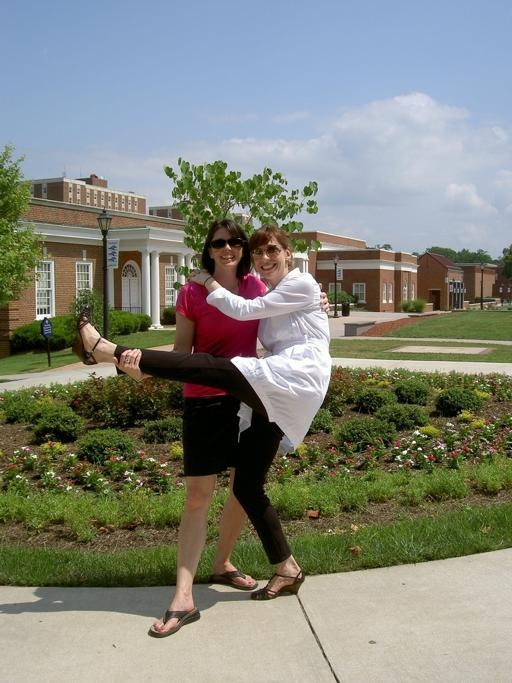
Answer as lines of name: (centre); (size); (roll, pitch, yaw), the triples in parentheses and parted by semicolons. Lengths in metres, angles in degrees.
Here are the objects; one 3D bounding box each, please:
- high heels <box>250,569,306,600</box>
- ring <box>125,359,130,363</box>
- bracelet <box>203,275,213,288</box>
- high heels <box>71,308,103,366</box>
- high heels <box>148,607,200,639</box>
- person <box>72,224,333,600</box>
high heels: (0.111, 1.138, 3.067); (0.292, 0.105, 0.098); (-1, -9, -13)
ring: (-0.563, 0.086, 2.861); (0.022, 0.017, 0.005); (21, 7, 5)
bracelet: (-0.223, -0.275, 3.045); (0.055, 0.048, 0.050); (-5, -10, 36)
high heels: (-0.797, -0.012, 3.049); (0.119, 0.286, 0.083); (13, -16, -43)
high heels: (-0.319, 1.154, 2.671); (0.072, 0.047, 0.177); (-6, -9, 36)
person: (-0.268, 0.306, 3.144); (0.632, 1.211, 0.886); (-1, 1, 43)
